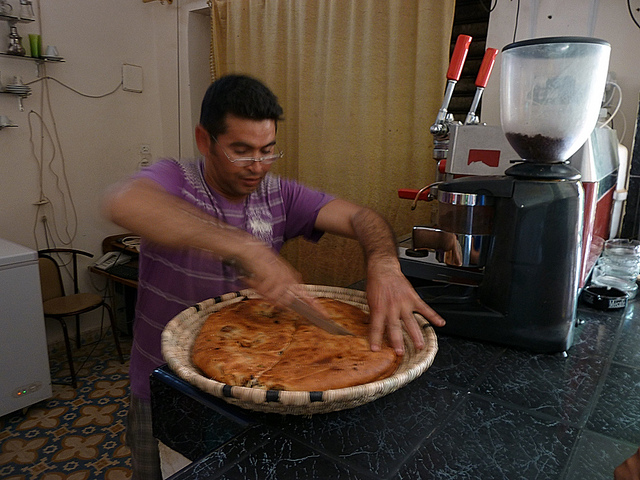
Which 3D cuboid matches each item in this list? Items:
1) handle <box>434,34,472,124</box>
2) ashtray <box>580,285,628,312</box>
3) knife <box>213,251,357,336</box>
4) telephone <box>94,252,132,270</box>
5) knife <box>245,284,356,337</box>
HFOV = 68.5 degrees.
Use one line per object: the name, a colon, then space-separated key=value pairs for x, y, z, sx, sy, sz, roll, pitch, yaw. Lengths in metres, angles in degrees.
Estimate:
handle: x=0.543 y=-0.656 z=1.914 sx=0.100 sy=0.354 sz=0.281 roll=6 pitch=19 yaw=14
ashtray: x=1.003 y=0.205 z=1.640 sx=0.102 sy=0.034 sz=0.101 roll=1 pitch=7 yaw=17
knife: x=-0.103 y=0.166 z=1.458 sx=0.380 sy=0.053 sz=0.041 roll=32 pitch=16 yaw=0
telephone: x=-1.715 y=0.169 z=3.866 sx=0.157 sy=0.059 sz=0.209 roll=4 pitch=22 yaw=23
knife: x=-0.063 y=0.199 z=1.278 sx=0.215 sy=0.010 sz=0.028 roll=34 pitch=3 yaw=-9
